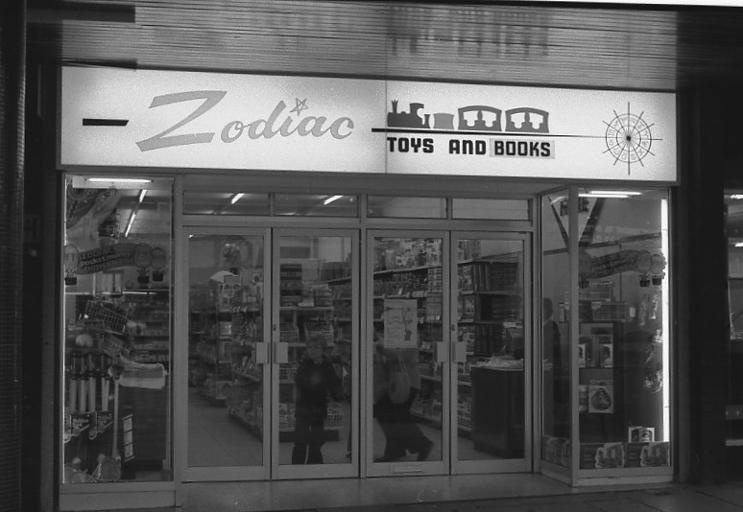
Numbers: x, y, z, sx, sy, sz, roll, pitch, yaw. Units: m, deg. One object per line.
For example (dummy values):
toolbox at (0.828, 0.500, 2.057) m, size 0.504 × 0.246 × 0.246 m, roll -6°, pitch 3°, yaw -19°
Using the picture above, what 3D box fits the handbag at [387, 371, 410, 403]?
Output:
handbag at (0.303, 1.444, 10.951) m, size 0.231 × 0.334 × 0.079 m, roll 1°, pitch -4°, yaw -7°
